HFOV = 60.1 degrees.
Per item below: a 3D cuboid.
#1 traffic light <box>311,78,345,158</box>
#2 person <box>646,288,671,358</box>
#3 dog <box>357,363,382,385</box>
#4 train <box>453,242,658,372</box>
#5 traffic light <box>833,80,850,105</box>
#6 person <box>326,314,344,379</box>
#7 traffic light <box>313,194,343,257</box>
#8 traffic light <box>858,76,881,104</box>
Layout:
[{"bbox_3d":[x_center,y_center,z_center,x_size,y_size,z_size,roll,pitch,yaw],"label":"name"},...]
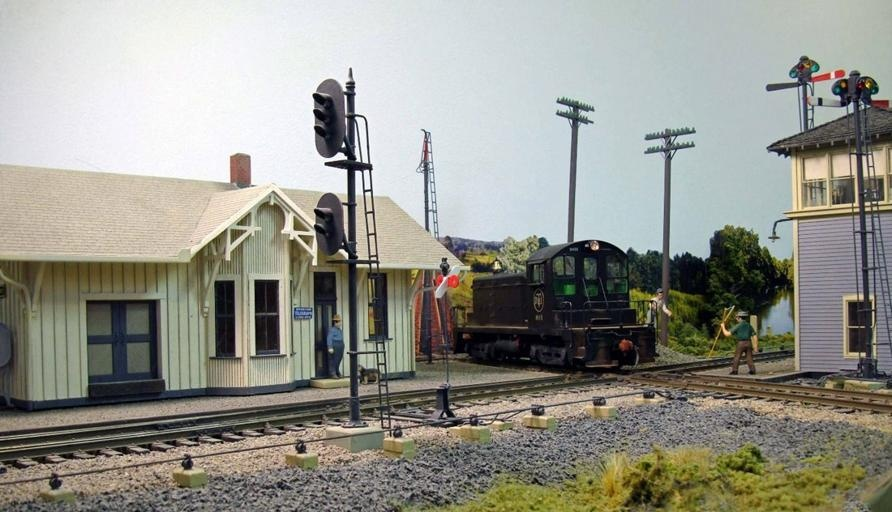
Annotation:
[{"bbox_3d":[-2.919,-3.456,19.181,0.838,2.066,0.599,-3,-4,4],"label":"traffic light"},{"bbox_3d":[8.501,2.447,30.836,0.665,1.864,0.662,-11,21,-44],"label":"person"},{"bbox_3d":[-2.885,4.344,28.065,0.594,0.662,1.016,-5,-5,18],"label":"dog"},{"bbox_3d":[4.088,2.249,33.580,4.015,5.302,10.378,-1,-4,-29],"label":"train"},{"bbox_3d":[13.773,-5.661,26.942,0.476,0.883,2.022,-5,-5,26],"label":"traffic light"},{"bbox_3d":[-3.987,3.256,27.593,0.585,2.240,0.536,-2,-4,-11],"label":"person"},{"bbox_3d":[-2.914,-0.786,19.106,0.777,1.498,0.478,-4,-4,14],"label":"traffic light"},{"bbox_3d":[14.396,-5.736,26.376,0.429,0.827,1.665,-6,-6,35],"label":"traffic light"}]
